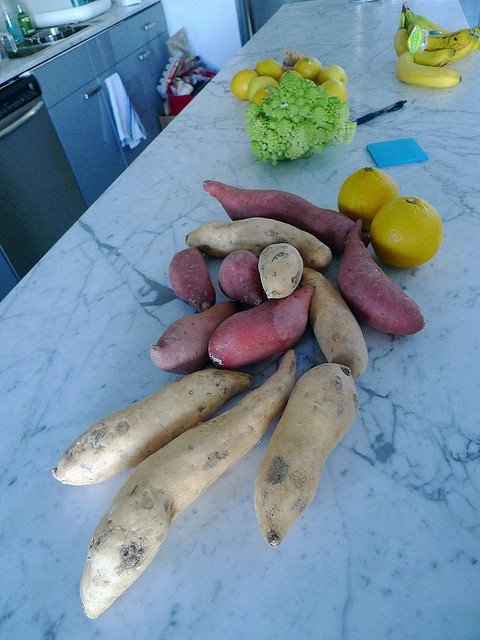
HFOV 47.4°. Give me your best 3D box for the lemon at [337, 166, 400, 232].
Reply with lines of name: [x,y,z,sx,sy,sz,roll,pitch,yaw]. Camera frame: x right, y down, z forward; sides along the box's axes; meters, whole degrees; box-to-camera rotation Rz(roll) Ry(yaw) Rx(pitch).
lemon: [0.207,-0.209,0.932,0.109,0.099,0.100,-4,25,8]

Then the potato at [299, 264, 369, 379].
potato: [0.129,0.007,0.768,0.054,0.050,0.160,1,42,-23]

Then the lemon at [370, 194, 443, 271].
lemon: [0.255,-0.130,0.881,0.117,0.107,0.107,-3,30,11]

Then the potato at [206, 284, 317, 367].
potato: [0.025,0.016,0.712,0.148,0.048,0.069,-31,21,-19]

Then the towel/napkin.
towel/napkin: [-0.577,-1.025,2.710,0.067,0.263,0.217,4,27,36]

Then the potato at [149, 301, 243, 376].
potato: [-0.063,0.029,0.785,0.065,0.054,0.129,24,45,20]

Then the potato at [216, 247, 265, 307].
potato: [0.015,-0.062,0.837,0.065,0.063,0.083,-23,51,-33]

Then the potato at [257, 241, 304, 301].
potato: [0.052,-0.062,0.714,0.060,0.046,0.072,15,67,20]

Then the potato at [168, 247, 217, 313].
potato: [-0.078,-0.058,0.868,0.059,0.041,0.107,-23,43,5]

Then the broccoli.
broccoli: [0.109,-0.408,1.142,0.213,0.210,0.107,21,34,-12]

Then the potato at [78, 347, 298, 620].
potato: [-0.010,0.154,0.660,0.409,0.082,0.092,-38,17,-36]
